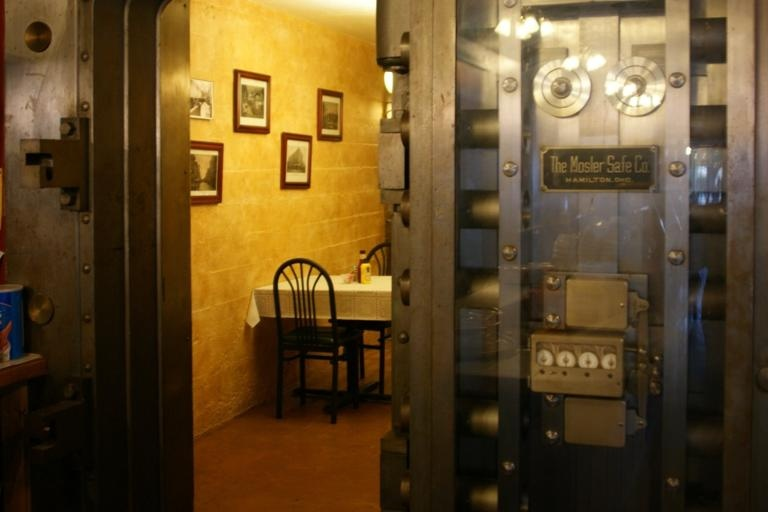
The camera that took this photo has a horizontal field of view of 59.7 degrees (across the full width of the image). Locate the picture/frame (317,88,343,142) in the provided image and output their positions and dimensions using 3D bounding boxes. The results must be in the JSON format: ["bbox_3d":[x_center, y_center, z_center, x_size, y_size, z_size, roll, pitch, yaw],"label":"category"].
[{"bbox_3d":[-0.477,-1.212,5.745,0.036,0.498,0.486,0,3,23],"label":"picture/frame"}]

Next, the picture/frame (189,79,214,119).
[{"bbox_3d":[-1.206,-1.020,4.343,0.019,0.255,0.255,0,6,21],"label":"picture/frame"}]

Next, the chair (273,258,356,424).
[{"bbox_3d":[-0.498,0.531,4.920,0.625,1.134,1.066,-3,8,-9],"label":"chair"}]

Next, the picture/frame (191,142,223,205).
[{"bbox_3d":[-1.192,-0.547,4.425,0.396,0.424,0.030,7,7,35],"label":"picture/frame"}]

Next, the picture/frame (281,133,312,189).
[{"bbox_3d":[-0.704,-0.753,5.286,0.035,0.462,0.452,1,3,23],"label":"picture/frame"}]

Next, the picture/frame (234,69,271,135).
[{"bbox_3d":[-0.954,-1.100,4.782,0.037,0.520,0.503,0,2,28],"label":"picture/frame"}]
